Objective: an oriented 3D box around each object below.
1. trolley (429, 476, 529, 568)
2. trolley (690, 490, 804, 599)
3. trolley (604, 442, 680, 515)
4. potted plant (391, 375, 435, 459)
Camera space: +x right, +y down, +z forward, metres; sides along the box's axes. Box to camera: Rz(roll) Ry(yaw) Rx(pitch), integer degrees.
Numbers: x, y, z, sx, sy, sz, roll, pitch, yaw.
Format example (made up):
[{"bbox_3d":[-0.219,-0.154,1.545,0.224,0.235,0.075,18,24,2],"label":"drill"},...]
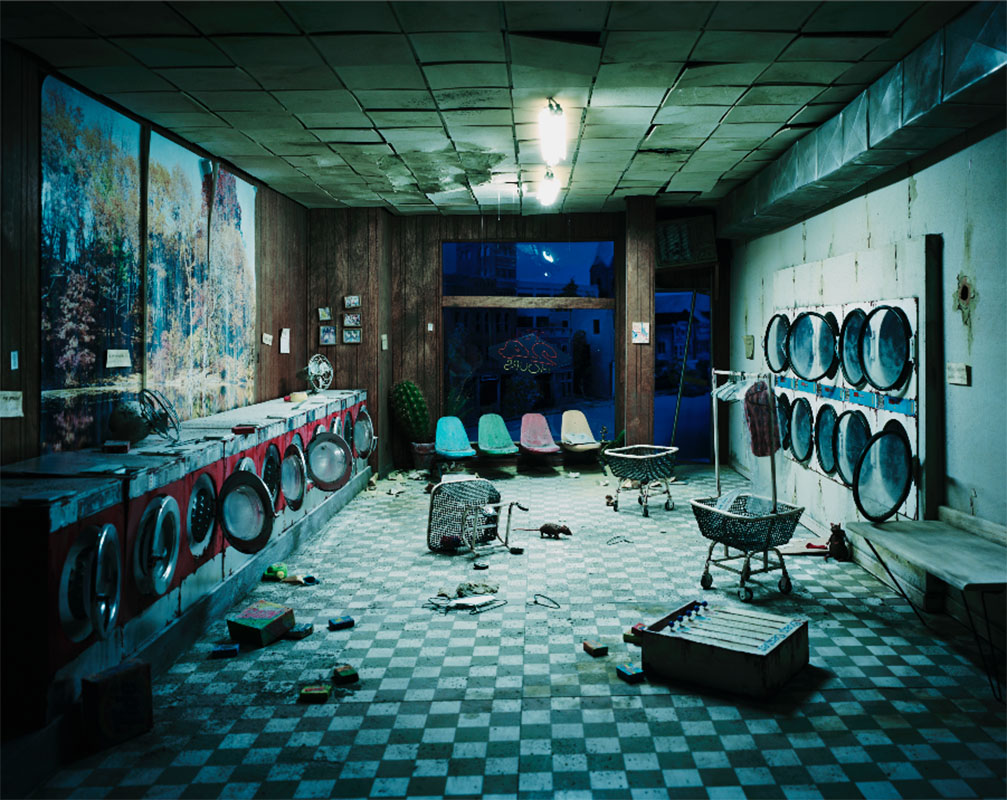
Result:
[{"bbox_3d":[-0.224,0.927,6.340,0.703,0.646,0.697,1,-4,-33],"label":"trolley"},{"bbox_3d":[1.758,1.054,5.662,0.513,0.672,0.785,-2,1,-18],"label":"trolley"},{"bbox_3d":[1.433,0.802,7.933,0.785,0.826,0.932,0,5,3],"label":"trolley"},{"bbox_3d":[-1.208,0.224,10.067,0.536,1.067,0.511,-2,9,-11],"label":"potted plant"}]
